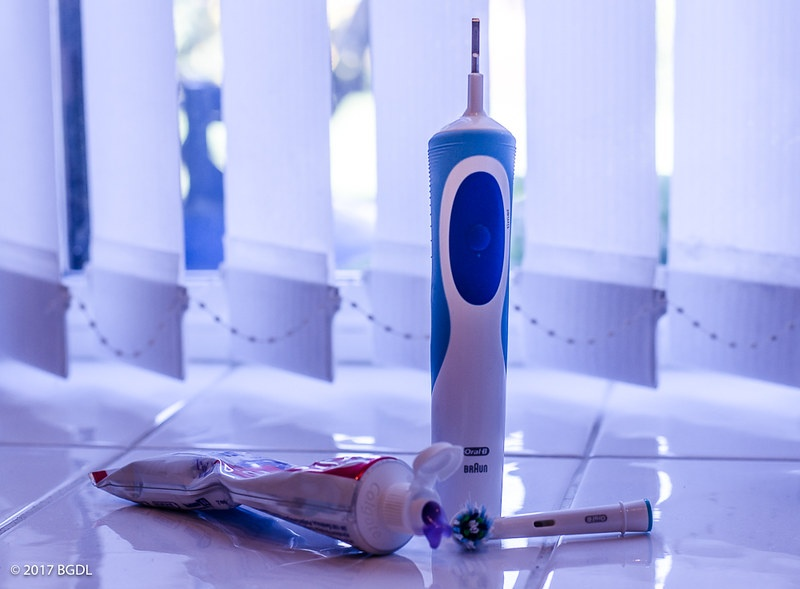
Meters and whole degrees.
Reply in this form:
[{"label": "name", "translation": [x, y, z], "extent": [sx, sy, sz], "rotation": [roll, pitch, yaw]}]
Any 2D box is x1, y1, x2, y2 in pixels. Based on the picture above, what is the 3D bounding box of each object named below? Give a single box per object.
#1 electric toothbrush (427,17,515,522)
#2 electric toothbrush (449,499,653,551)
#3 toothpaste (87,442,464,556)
[{"label": "electric toothbrush", "translation": [0.083, -0.045, 0.965], "extent": [0.093, 0.540, 0.099], "rotation": [-3, -10, 33]}, {"label": "electric toothbrush", "translation": [0.157, 0.229, 0.903], "extent": [0.190, 0.063, 0.053], "rotation": [-7, -18, 11]}, {"label": "toothpaste", "translation": [-0.139, 0.205, 0.940], "extent": [0.393, 0.121, 0.102], "rotation": [-1, 0, 22]}]
